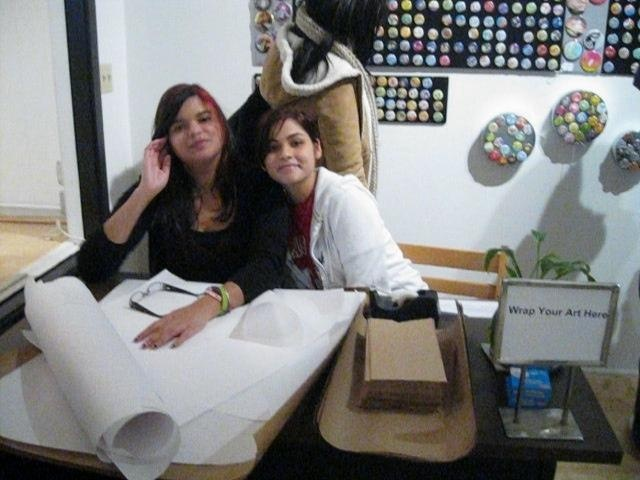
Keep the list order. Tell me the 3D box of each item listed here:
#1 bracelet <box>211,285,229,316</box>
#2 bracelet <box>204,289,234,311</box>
[{"bbox_3d":[-0.190,0.119,0.962,0.024,0.052,0.037,-21,-4,-4],"label":"bracelet"},{"bbox_3d":[-0.195,0.115,0.950,0.034,0.052,0.029,-1,31,-4],"label":"bracelet"}]
